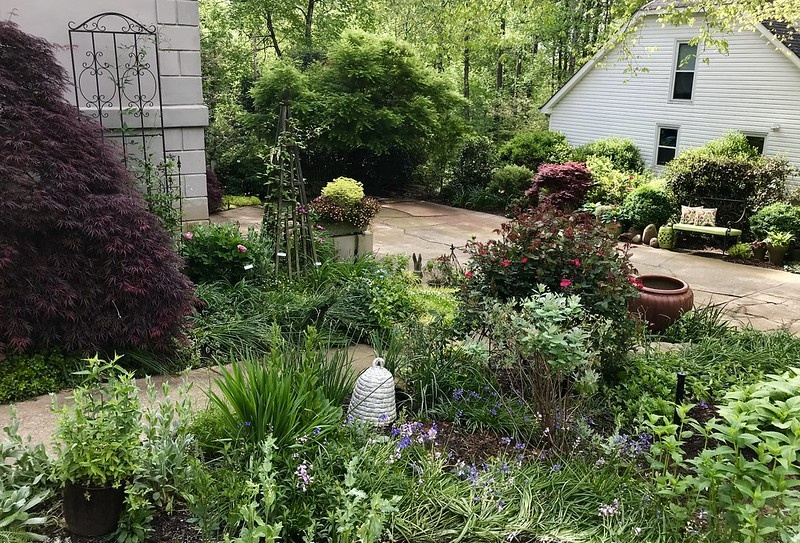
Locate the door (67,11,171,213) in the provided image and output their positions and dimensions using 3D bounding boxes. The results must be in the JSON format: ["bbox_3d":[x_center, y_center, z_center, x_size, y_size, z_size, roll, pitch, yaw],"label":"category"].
[{"bbox_3d":[-3.026,-1.748,6.224,0.867,2.142,0.039,-6,-2,-19],"label":"door"}]

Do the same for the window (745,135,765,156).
[{"bbox_3d":[9.555,-3.419,15.454,0.247,0.435,0.553,0,13,-17],"label":"window"}]

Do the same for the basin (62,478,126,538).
[{"bbox_3d":[-1.840,1.383,3.521,0.335,0.273,0.330,3,-2,0],"label":"basin"}]

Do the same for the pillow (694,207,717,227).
[{"bbox_3d":[6.457,-1.143,12.202,0.423,0.426,0.175,3,-6,17],"label":"pillow"}]

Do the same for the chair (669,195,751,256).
[{"bbox_3d":[6.478,-0.999,12.165,0.725,0.971,1.383,-14,17,-23],"label":"chair"}]

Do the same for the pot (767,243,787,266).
[{"bbox_3d":[7.350,-0.345,11.365,0.379,0.388,0.384,0,1,0],"label":"pot"}]

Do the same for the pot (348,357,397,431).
[{"bbox_3d":[-0.180,0.885,4.470,0.439,0.519,0.454,4,9,-1],"label":"pot"}]

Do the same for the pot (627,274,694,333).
[{"bbox_3d":[3.168,0.437,6.915,0.700,0.578,0.689,-4,15,1],"label":"pot"}]

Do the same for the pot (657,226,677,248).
[{"bbox_3d":[5.731,-0.755,12.534,0.434,0.538,0.409,-1,10,0],"label":"pot"}]

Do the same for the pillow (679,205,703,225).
[{"bbox_3d":[6.251,-1.197,12.325,0.428,0.429,0.160,8,5,36],"label":"pillow"}]
